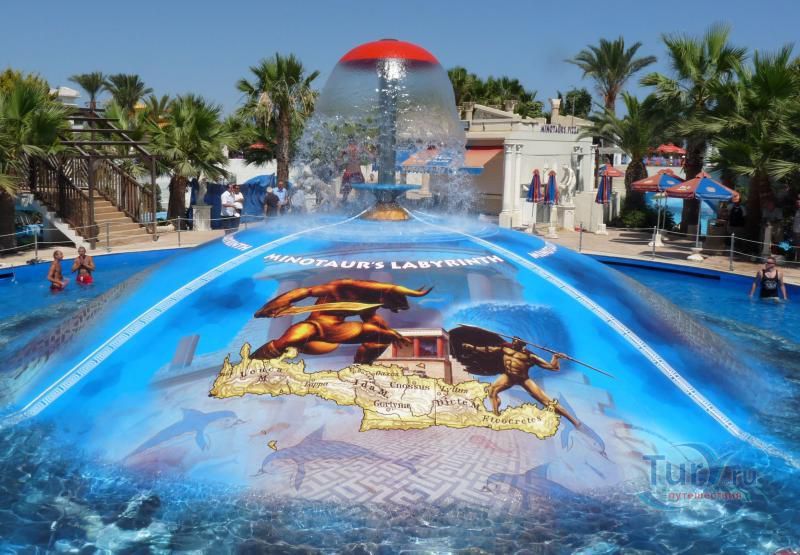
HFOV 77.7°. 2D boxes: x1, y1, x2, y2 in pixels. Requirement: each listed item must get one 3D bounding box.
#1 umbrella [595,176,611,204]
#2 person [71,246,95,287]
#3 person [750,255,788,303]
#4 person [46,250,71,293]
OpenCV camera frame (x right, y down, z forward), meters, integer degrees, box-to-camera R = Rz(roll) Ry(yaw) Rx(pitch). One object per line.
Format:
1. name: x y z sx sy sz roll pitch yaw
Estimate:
1. umbrella: 11.370 -4.850 27.789 0.623 1.564 0.921 6 9 26
2. person: -9.973 -0.320 15.566 0.562 1.157 1.065 -4 10 -32
3. person: 10.752 0.081 14.452 0.925 1.265 0.965 -4 10 -35
4. person: -10.064 -0.140 14.527 0.451 1.213 1.142 -4 10 -35
